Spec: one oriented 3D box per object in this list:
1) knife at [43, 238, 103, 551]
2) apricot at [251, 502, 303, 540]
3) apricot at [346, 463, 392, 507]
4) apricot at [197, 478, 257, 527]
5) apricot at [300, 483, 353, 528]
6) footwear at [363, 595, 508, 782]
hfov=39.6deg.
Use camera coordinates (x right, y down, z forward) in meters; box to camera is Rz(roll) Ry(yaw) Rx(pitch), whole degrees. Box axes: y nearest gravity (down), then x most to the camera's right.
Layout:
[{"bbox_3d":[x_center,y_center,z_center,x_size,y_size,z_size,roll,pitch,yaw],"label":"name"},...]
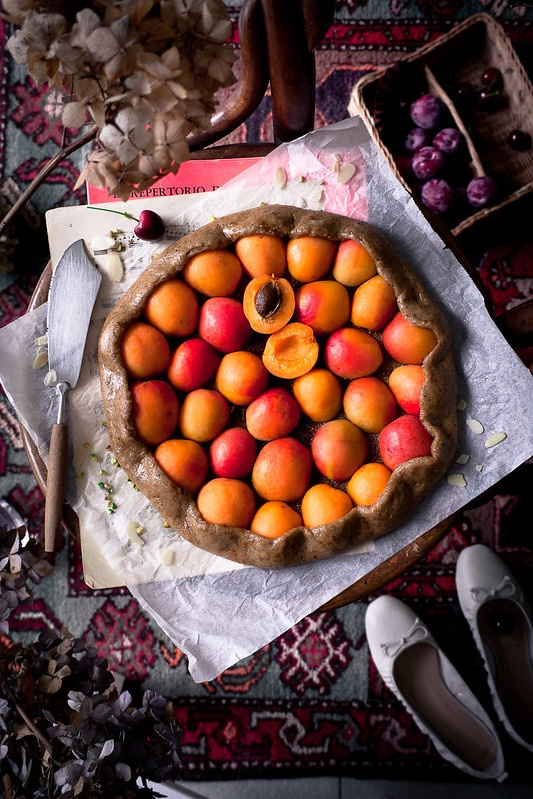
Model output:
[{"bbox_3d":[-0.334,-0.011,1.207,0.089,0.036,0.478,7,92,20],"label":"knife"},{"bbox_3d":[0.013,0.187,1.131,0.061,0.063,0.068,17,85,-22],"label":"apricot"},{"bbox_3d":[0.157,0.134,1.139,0.067,0.054,0.038,-41,118,18],"label":"apricot"},{"bbox_3d":[-0.061,0.160,1.184,0.085,0.076,0.076,10,81,9],"label":"apricot"},{"bbox_3d":[0.089,0.164,1.129,0.072,0.068,0.068,-3,105,-7],"label":"apricot"},{"bbox_3d":[0.345,0.598,1.604,0.176,0.147,0.479,-41,87,6],"label":"footwear"}]
